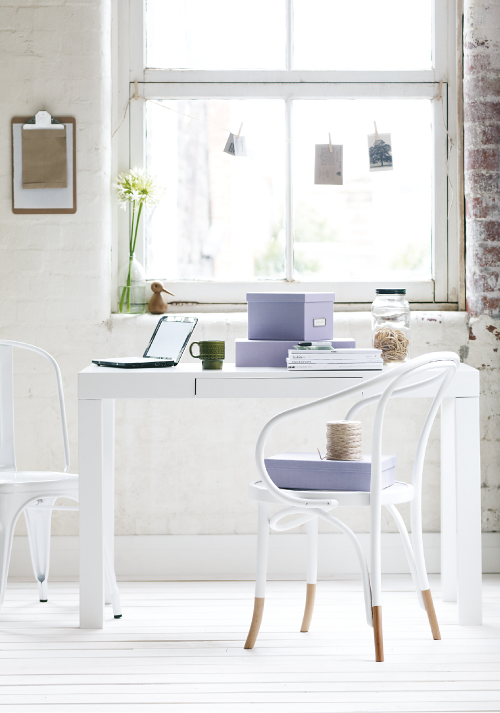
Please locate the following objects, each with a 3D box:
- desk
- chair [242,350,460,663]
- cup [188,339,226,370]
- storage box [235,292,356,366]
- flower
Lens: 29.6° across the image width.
[{"bbox_3d":[0.067,0.451,2.952,1.214,0.876,0.739,-1,2,2],"label":"desk"},{"bbox_3d":[0.301,0.385,2.803,0.669,1.112,0.651,1,-1,28],"label":"chair"},{"bbox_3d":[-0.127,0.000,2.778,0.109,0.093,0.075,-1,0,30],"label":"cup"},{"bbox_3d":[0.104,-0.086,2.810,0.241,0.178,0.250,2,4,42],"label":"storage box"},{"bbox_3d":[-0.417,-0.411,3.451,0.135,0.505,0.170,-1,2,-9],"label":"flower"}]
